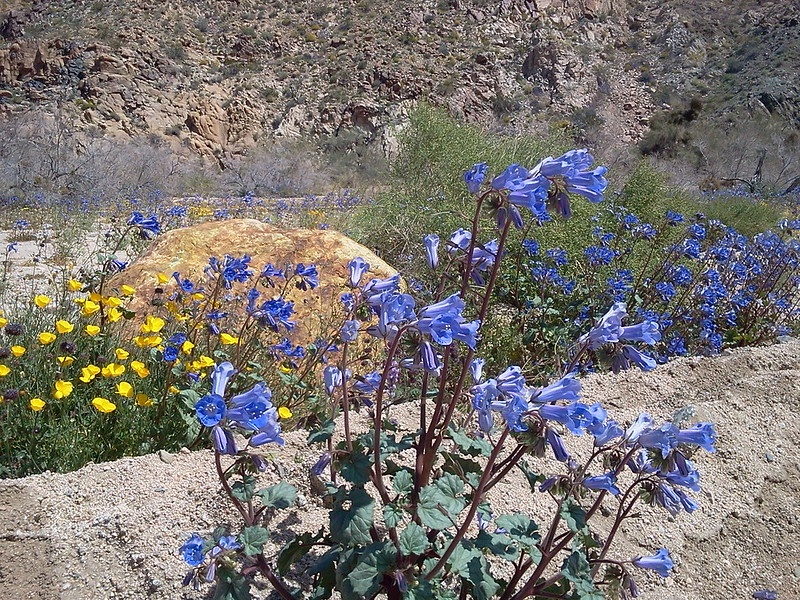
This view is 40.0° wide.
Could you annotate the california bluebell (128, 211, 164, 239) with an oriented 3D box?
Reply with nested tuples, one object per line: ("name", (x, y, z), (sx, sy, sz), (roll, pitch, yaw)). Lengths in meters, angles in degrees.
("california bluebell", (-6.878, -2.237, 30.611), (0.753, 0.840, 0.411), (3, 43, 32))
